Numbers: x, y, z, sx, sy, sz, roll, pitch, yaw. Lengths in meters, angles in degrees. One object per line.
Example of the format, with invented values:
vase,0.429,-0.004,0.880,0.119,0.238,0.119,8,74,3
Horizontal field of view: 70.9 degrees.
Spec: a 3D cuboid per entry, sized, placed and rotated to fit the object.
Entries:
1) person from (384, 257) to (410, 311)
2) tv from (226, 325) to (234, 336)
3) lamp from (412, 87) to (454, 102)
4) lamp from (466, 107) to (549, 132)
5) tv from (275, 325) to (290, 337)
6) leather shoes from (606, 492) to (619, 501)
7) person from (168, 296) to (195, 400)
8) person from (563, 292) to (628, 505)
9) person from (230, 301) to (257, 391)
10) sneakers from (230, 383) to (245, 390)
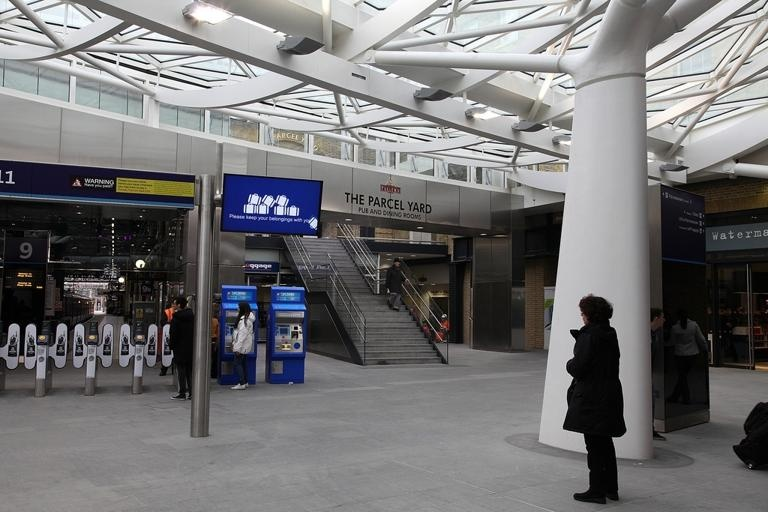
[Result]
person,0.506,1.248,24.180,0.868,2.296,0.762,-2,-1,6
tv,-4.539,2.173,15.836,0.331,0.294,0.172,5,-7,-26
lamp,1.311,-4.334,14.409,0.908,0.295,0.511,-2,-2,33
lamp,4.088,-4.093,16.789,2.455,0.216,0.761,8,-22,-38
tv,-3.017,2.227,16.251,0.606,0.484,0.290,3,-13,-16
leather shoes,3.062,3.190,7.164,0.146,0.084,0.082,0,4,-26
person,-5.011,2.266,13.323,0.555,2.466,1.077,-1,-1,-21
person,2.799,1.885,7.209,0.824,1.874,0.490,-1,-1,2
person,-3.938,2.455,15.009,0.664,2.393,0.955,-1,-1,-14
sneakers,-4.058,3.580,14.873,0.418,0.156,0.143,1,-3,26
